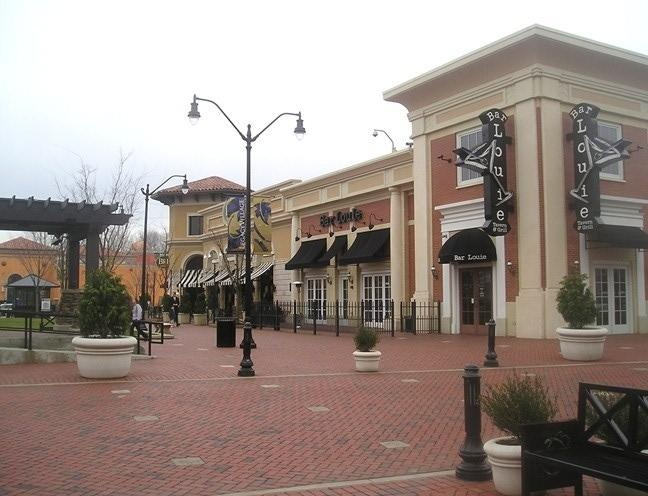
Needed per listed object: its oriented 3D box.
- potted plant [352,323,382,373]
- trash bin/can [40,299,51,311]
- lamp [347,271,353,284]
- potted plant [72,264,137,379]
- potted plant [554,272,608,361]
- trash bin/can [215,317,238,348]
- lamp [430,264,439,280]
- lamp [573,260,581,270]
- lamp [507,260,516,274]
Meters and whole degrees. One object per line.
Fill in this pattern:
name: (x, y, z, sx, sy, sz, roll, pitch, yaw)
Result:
potted plant: (1.092, 2.449, 16.348, 0.635, 1.090, 1.256, -1, -1, 4)
trash bin/can: (-16.516, 3.332, 38.975, 0.767, 0.782, 0.671, 1, -3, -16)
lamp: (1.361, 1.454, 33.444, 0.175, 0.680, 0.692, 0, -1, -23)
potted plant: (-4.920, 1.689, 14.786, 1.290, 2.422, 0.947, 0, -1, -14)
potted plant: (6.816, 1.749, 17.332, 1.206, 2.271, 1.245, 3, -6, -25)
trash bin/can: (-3.324, 2.935, 23.168, 0.858, 1.376, 0.904, -2, -4, 19)
lamp: (4.588, 0.972, 27.209, 0.191, 0.604, 0.365, 0, -1, -37)
lamp: (9.176, 0.584, 23.663, 0.458, 0.368, 0.136, 0, -1, -42)
lamp: (6.884, 0.678, 24.008, 0.376, 0.571, 0.421, 1, -2, 8)
